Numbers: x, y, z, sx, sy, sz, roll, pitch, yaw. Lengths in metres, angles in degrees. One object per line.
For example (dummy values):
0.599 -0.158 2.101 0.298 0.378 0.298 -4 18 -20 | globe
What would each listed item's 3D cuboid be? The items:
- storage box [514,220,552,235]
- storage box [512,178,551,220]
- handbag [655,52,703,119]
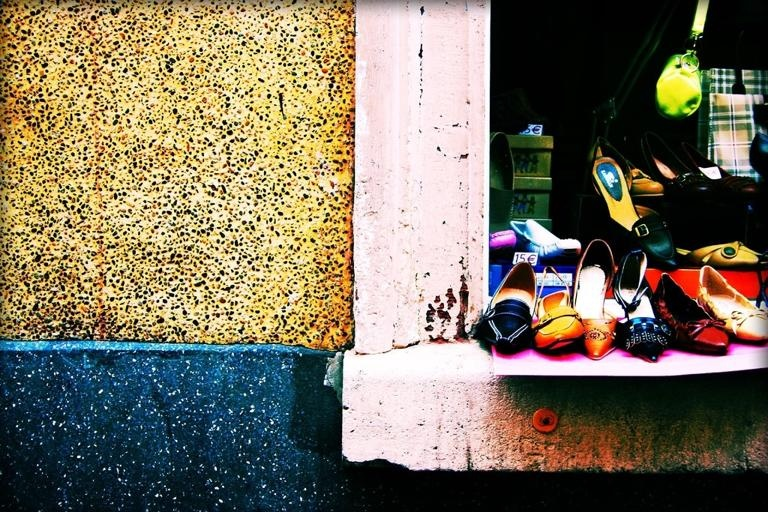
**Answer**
0.688 -0.130 3.737 0.180 0.062 0.072 -3 91 2 | storage box
0.683 -0.270 3.825 0.185 0.188 0.181 1 94 5 | storage box
1.371 -0.781 3.791 0.142 0.207 0.203 -8 107 -25 | handbag
